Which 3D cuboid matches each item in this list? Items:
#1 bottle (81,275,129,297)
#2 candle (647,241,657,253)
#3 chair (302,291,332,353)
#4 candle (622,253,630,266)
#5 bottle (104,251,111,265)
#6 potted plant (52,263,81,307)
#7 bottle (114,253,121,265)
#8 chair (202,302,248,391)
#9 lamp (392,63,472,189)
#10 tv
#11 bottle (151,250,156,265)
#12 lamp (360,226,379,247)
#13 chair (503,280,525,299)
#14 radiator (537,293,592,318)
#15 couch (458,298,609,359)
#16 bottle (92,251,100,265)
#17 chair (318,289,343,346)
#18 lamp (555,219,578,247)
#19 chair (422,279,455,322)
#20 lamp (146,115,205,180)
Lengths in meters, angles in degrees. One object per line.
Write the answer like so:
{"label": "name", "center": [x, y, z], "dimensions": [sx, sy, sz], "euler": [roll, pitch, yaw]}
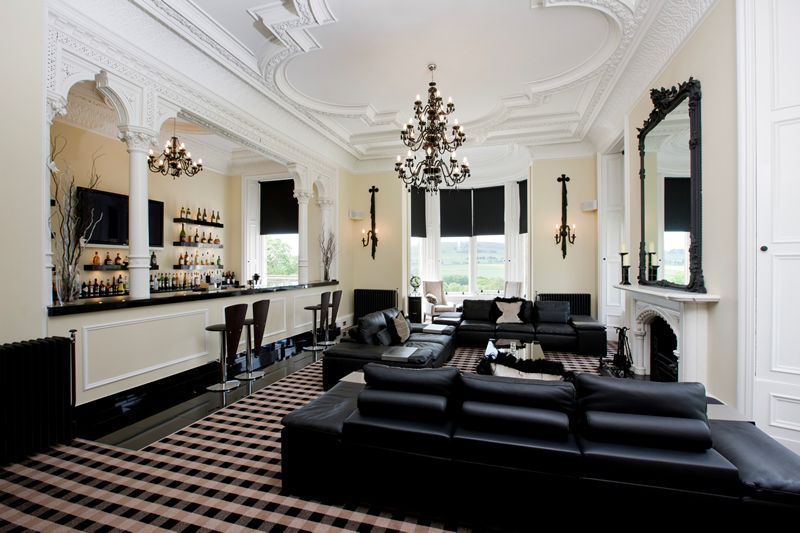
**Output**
{"label": "bottle", "center": [-4.972, 0.316, 8.698], "dimensions": [0.454, 0.443, 0.883], "euler": [-1, 1, 38]}
{"label": "candle", "center": [3.483, -0.266, 7.132], "dimensions": [0.115, 0.133, 0.121], "euler": [4, 0, 22]}
{"label": "chair", "center": [-1.398, 0.969, 9.202], "dimensions": [0.415, 0.929, 0.451], "euler": [-6, -1, 29]}
{"label": "candle", "center": [3.296, -0.104, 7.534], "dimensions": [0.181, 0.207, 0.186], "euler": [1, -1, 28]}
{"label": "bottle", "center": [-5.039, -0.153, 8.885], "dimensions": [0.075, 0.266, 0.178], "euler": [-2, 1, -18]}
{"label": "potted plant", "center": [-4.119, 0.219, 6.332], "dimensions": [0.262, 0.528, 0.546], "euler": [-2, 1, -35]}
{"label": "bottle", "center": [-4.905, -0.142, 8.957], "dimensions": [0.111, 0.256, 0.298], "euler": [-2, 1, -30]}
{"label": "chair", "center": [-2.446, 1.108, 7.163], "dimensions": [0.554, 1.205, 0.510], "euler": [4, 6, 17]}
{"label": "lamp", "center": [0.460, -2.355, 7.748], "dimensions": [0.896, 1.826, 0.891], "euler": [-6, 4, 3]}
{"label": "tv", "center": [-4.559, -0.780, 8.273], "dimensions": [0.125, 0.868, 1.275], "euler": [4, 3, 24]}
{"label": "bottle", "center": [-4.569, -0.174, 9.583], "dimensions": [0.090, 0.274, 0.379], "euler": [-2, 1, -24]}
{"label": "lamp", "center": [-0.682, -0.683, 11.763], "dimensions": [0.448, 0.449, 0.118], "euler": [3, 4, 34]}
{"label": "chair", "center": [2.663, 0.555, 11.984], "dimensions": [0.575, 0.593, 0.402], "euler": [0, -5, 27]}
{"label": "radiator", "center": [3.517, 0.721, 10.448], "dimensions": [0.874, 0.490, 0.248], "euler": [2, -15, 15]}
{"label": "couch", "center": [2.339, 1.095, 9.264], "dimensions": [2.499, 0.728, 0.958], "euler": [-1, 1, 17]}
{"label": "bottle", "center": [-5.127, -0.143, 8.711], "dimensions": [0.129, 0.267, 0.263], "euler": [-2, 1, -31]}
{"label": "chair", "center": [-1.338, 0.970, 9.524], "dimensions": [0.468, 1.016, 0.399], "euler": [0, 2, 7]}
{"label": "lamp", "center": [3.473, -0.710, 10.701], "dimensions": [0.550, 0.735, 0.243], "euler": [0, -4, 6]}
{"label": "chair", "center": [0.912, 0.826, 12.218], "dimensions": [0.685, 0.977, 0.772], "euler": [0, 0, -5]}
{"label": "lamp", "center": [-3.808, -2.018, 8.648], "dimensions": [0.722, 0.909, 0.746], "euler": [1, 0, 30]}
